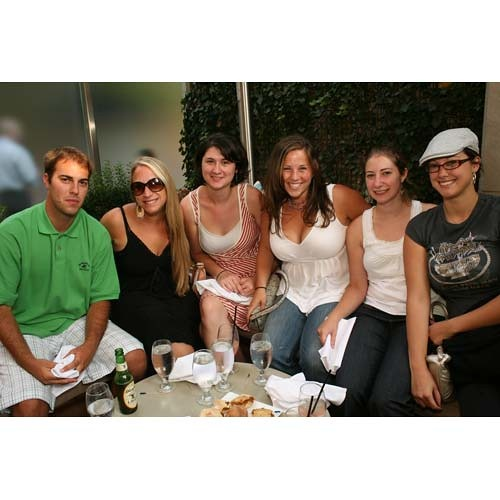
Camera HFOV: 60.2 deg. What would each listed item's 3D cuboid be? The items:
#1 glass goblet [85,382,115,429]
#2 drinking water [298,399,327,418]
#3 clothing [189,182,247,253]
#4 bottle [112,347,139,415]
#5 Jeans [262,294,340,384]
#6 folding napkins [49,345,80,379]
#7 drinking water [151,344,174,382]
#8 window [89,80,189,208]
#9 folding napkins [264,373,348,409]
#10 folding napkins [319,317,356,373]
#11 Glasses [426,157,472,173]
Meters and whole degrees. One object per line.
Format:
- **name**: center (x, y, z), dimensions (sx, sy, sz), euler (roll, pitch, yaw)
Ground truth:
- **glass goblet**: center (-0.622, 0.637, 1.785), dimensions (0.119, 0.170, 0.129), euler (-2, -6, -4)
- **drinking water**: center (0.240, 0.597, 1.690), dimensions (0.072, 0.074, 0.075), euler (1, 5, 20)
- **clothing**: center (-0.213, -0.241, 3.067), dimensions (0.371, 0.438, 0.226), euler (-9, 28, -8)
- **bottle**: center (-0.546, 0.538, 1.848), dimensions (0.086, 0.290, 0.162), euler (-12, 20, -20)
- **Jeans**: center (0.297, 0.535, 2.602), dimensions (0.420, 0.447, 0.179), euler (1, -5, 44)
- **folding napkins**: center (-0.948, 0.579, 2.228), dimensions (0.122, 0.054, 0.173), euler (1, 48, -6)
- **drinking water**: center (-0.381, 0.480, 1.894), dimensions (0.093, 0.164, 0.088), euler (-14, 21, -26)
- **window**: center (-0.761, -0.824, 3.098), dimensions (0.670, 0.818, 0.031), euler (-4, -13, -10)
- **folding napkins**: center (0.222, 0.597, 1.824), dimensions (0.222, 0.080, 0.176), euler (0, 6, 27)
- **folding napkins**: center (0.488, 0.513, 2.381), dimensions (0.077, 0.275, 0.181), euler (31, -28, -34)
- **Glasses**: center (0.987, -0.412, 2.109), dimensions (0.184, 0.066, 0.049), euler (1, 20, 17)
